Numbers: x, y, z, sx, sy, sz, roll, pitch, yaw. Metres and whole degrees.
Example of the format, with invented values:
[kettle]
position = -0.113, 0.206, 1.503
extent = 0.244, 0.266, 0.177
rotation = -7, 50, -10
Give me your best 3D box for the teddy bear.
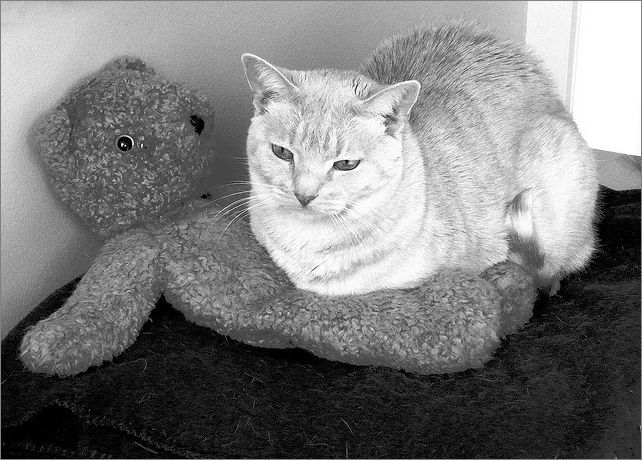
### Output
[teddy bear]
position = -0.078, 0.025, 1.346
extent = 0.844, 0.274, 0.532
rotation = 7, 30, 3
